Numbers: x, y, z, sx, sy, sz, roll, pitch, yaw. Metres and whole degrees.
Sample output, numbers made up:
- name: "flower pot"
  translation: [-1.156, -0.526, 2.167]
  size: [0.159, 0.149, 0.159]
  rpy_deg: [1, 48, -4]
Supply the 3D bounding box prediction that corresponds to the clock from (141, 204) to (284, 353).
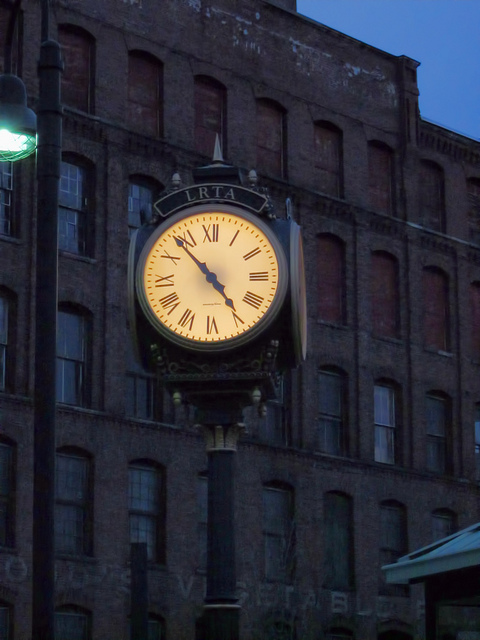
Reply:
- name: "clock"
  translation: [-0.327, -0.528, 23.430]
  size: [1.706, 0.253, 2.377]
  rpy_deg: [-1, -43, -4]
